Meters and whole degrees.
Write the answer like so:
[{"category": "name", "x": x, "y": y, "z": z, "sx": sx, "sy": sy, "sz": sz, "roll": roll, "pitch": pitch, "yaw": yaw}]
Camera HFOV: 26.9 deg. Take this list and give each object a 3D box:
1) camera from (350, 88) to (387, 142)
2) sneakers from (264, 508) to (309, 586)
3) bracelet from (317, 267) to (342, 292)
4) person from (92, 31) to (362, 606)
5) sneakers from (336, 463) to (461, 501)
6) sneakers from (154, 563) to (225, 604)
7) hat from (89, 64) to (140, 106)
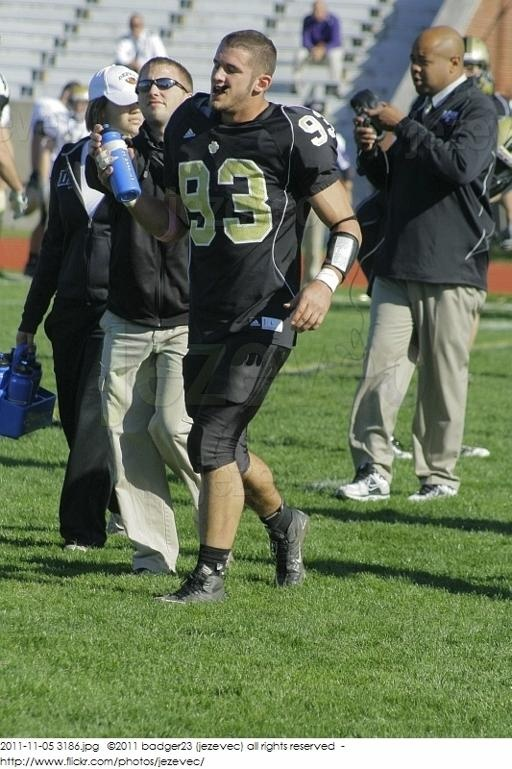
[{"category": "camera", "x": 0.504, "y": -1.232, "z": 4.916, "sx": 0.082, "sy": 0.204, "sz": 0.144, "roll": -29, "pitch": 51, "yaw": 2}, {"category": "sneakers", "x": 0.119, "y": 0.541, "z": 3.601, "sx": 0.098, "sy": 0.298, "sz": 0.142, "roll": -7, "pitch": -6, "yaw": 27}, {"category": "bracelet", "x": 0.218, "y": -0.310, "z": 3.158, "sx": 0.067, "sy": 0.071, "sz": 0.074, "roll": 19, "pitch": 5, "yaw": 43}, {"category": "person", "x": -0.083, "y": -0.203, "z": 3.293, "sx": 0.714, "sy": 1.733, "sz": 0.351, "roll": 9, "pitch": 8, "yaw": 24}, {"category": "sneakers", "x": 0.693, "y": 0.486, "z": 4.971, "sx": 0.620, "sy": 0.243, "sz": 0.201, "roll": 4, "pitch": -8, "yaw": -12}, {"category": "sneakers", "x": -0.179, "y": 0.621, "z": 3.343, "sx": 0.260, "sy": 0.114, "sz": 0.089, "roll": 2, "pitch": -1, "yaw": -22}, {"category": "hat", "x": -0.503, "y": -1.017, "z": 3.709, "sx": 0.169, "sy": 0.096, "sz": 0.128, "roll": 3, "pitch": 26, "yaw": 42}]
